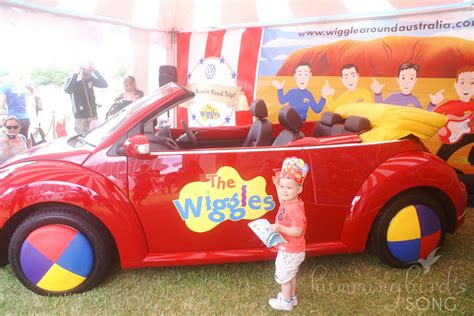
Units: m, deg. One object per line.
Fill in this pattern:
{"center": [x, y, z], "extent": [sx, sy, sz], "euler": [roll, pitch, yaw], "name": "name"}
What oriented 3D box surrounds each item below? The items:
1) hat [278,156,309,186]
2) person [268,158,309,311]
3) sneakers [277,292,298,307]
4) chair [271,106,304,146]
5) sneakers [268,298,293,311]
{"center": [0.563, 0.120, 3.090], "extent": [0.259, 0.205, 0.225], "euler": [-2, 10, -44], "name": "hat"}
{"center": [0.496, 0.741, 3.148], "extent": [0.374, 1.480, 0.450], "euler": [1, 18, 16], "name": "person"}
{"center": [0.497, 1.426, 3.239], "extent": [0.231, 0.108, 0.103], "euler": [4, 4, -1], "name": "sneakers"}
{"center": [0.652, -0.406, 3.948], "extent": [0.225, 0.357, 0.284], "euler": [-10, -1, -10], "name": "chair"}
{"center": [0.426, 1.464, 3.189], "extent": [0.239, 0.117, 0.102], "euler": [6, 6, 4], "name": "sneakers"}
